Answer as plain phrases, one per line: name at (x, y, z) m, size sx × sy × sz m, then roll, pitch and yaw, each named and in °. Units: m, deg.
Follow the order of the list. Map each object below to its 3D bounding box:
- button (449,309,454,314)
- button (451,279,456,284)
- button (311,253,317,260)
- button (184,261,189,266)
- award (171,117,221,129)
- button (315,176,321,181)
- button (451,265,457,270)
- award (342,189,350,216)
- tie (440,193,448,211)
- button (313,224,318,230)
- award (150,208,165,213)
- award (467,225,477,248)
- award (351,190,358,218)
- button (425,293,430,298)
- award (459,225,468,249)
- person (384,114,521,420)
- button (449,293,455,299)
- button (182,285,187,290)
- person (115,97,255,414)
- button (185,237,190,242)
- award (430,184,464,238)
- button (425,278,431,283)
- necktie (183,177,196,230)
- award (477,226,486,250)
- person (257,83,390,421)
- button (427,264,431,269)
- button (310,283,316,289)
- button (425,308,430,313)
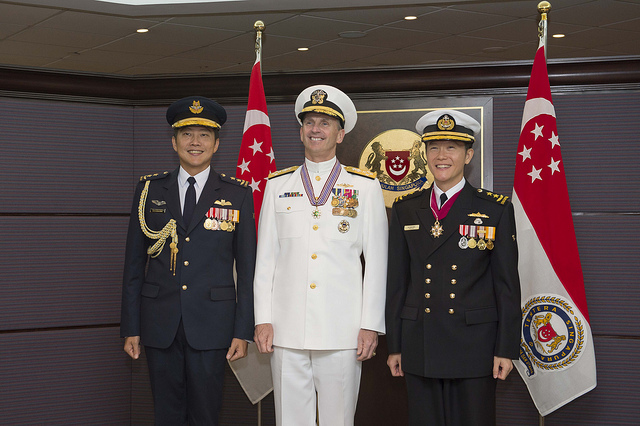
button at (0.790, 0.592, 3.276) m, size 0.031 × 0.027 × 0.007 m, roll 5°, pitch -6°, yaw 2°
button at (0.808, 0.417, 3.299) m, size 0.030 × 0.026 × 0.006 m, roll 8°, pitch -8°, yaw 3°
button at (-0.035, 0.274, 3.400) m, size 0.041 × 0.037 × 0.009 m, roll -3°, pitch 3°, yaw -1°
button at (-0.854, 0.325, 3.483) m, size 0.028 × 0.025 × 0.008 m, roll 0°, pitch -14°, yaw -7°
award at (-0.835, -0.598, 3.667) m, size 0.315 × 0.057 × 0.124 m, roll 1°, pitch -5°, yaw -6°
button at (-0.013, -0.219, 3.516) m, size 0.030 × 0.027 × 0.007 m, roll -3°, pitch -21°, yaw 0°
button at (0.814, 0.331, 3.314) m, size 0.027 × 0.024 × 0.006 m, roll -1°, pitch -8°, yaw 12°
award at (0.168, -0.068, 3.469) m, size 0.038 × 0.163 × 0.030 m, roll 1°, pitch -5°, yaw 6°
tie at (0.781, -0.079, 3.434) m, size 0.025 × 0.083 × 0.027 m, roll 10°, pitch -1°, yaw -3°
button at (-0.028, 0.093, 3.427) m, size 0.035 × 0.031 × 0.008 m, roll 0°, pitch -7°, yaw 0°
award at (-1.061, -0.014, 3.572) m, size 0.098 × 0.029 × 0.007 m, roll 0°, pitch -5°, yaw 10°
award at (0.930, 0.145, 3.337) m, size 0.054 × 0.138 × 0.024 m, roll 0°, pitch -5°, yaw 17°
award at (0.223, -0.056, 3.477) m, size 0.037 × 0.178 × 0.017 m, roll 3°, pitch -5°, yaw -21°
button at (0.656, 0.503, 3.323) m, size 0.032 × 0.029 × 0.008 m, roll -3°, pitch -6°, yaw 21°
award at (0.879, 0.147, 3.343) m, size 0.048 × 0.142 × 0.021 m, roll 0°, pitch -5°, yaw 14°
person at (0.818, 0.316, 3.392) m, size 0.785 × 1.898 × 0.238 m, roll 0°, pitch -5°, yaw 18°
button at (0.798, 0.503, 3.289) m, size 0.033 × 0.030 × 0.008 m, roll -1°, pitch -8°, yaw 17°
button at (-0.859, 0.474, 3.460) m, size 0.027 × 0.024 × 0.007 m, roll -1°, pitch -13°, yaw -5°
person at (-0.846, 0.261, 3.566) m, size 0.859 × 2.055 × 0.272 m, roll 2°, pitch -5°, yaw -7°
button at (-0.850, 0.173, 3.503) m, size 0.027 × 0.024 × 0.006 m, roll 5°, pitch -4°, yaw -14°
award at (0.781, 0.003, 3.411) m, size 0.185 × 0.302 × 0.092 m, roll 0°, pitch -5°, yaw 11°
button at (0.660, 0.416, 3.334) m, size 0.030 × 0.027 × 0.007 m, roll -2°, pitch -6°, yaw 12°
necktie at (-0.851, -0.069, 3.569) m, size 0.077 × 0.338 × 0.054 m, roll 2°, pitch -5°, yaw -13°
award at (0.986, 0.154, 3.331) m, size 0.048 × 0.141 × 0.013 m, roll 0°, pitch -5°, yaw 14°
person at (0.021, 0.247, 3.499) m, size 0.828 × 2.133 × 0.313 m, roll 2°, pitch -5°, yaw -7°
button at (0.668, 0.331, 3.343) m, size 0.030 × 0.027 × 0.007 m, roll 0°, pitch -9°, yaw 14°
button at (-0.043, 0.455, 3.375) m, size 0.038 × 0.033 × 0.008 m, roll 1°, pitch -7°, yaw -5°
button at (0.650, 0.591, 3.308) m, size 0.026 × 0.026 × 0.007 m, roll 1°, pitch -5°, yaw 7°
